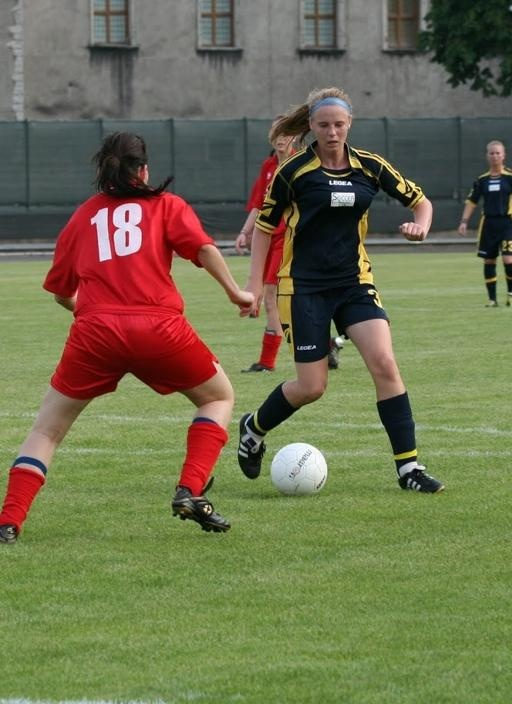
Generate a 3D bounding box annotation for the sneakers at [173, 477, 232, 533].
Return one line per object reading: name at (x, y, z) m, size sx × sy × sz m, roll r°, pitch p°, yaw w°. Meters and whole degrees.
sneakers at (-0.207, 0.594, 4.156) m, size 0.201 × 0.176 × 0.121 m, roll -2°, pitch 9°, yaw -2°

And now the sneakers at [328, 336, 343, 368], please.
sneakers at (0.593, -0.030, 8.454) m, size 0.118 × 0.303 × 0.144 m, roll 0°, pitch -13°, yaw 8°

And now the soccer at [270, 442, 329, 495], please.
soccer at (0.204, 0.517, 4.923) m, size 0.262 × 0.206 × 0.229 m, roll 2°, pitch -13°, yaw -3°

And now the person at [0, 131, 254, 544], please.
person at (-0.503, -0.075, 4.329) m, size 0.913 × 1.536 × 0.673 m, roll -2°, pitch 10°, yaw 4°

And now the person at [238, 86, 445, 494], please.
person at (0.333, -0.156, 4.982) m, size 0.928 × 1.549 × 0.529 m, roll -1°, pitch 10°, yaw 6°

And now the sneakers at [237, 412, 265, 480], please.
sneakers at (-0.049, 0.440, 5.210) m, size 0.124 × 0.294 × 0.138 m, roll -8°, pitch 11°, yaw -34°

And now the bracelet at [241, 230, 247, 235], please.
bracelet at (-0.090, -0.912, 8.652) m, size 0.012 × 0.039 × 0.048 m, roll 6°, pitch 6°, yaw -36°

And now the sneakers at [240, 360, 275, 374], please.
sneakers at (0.007, 0.127, 8.496) m, size 0.257 × 0.086 × 0.084 m, roll 4°, pitch -4°, yaw -4°

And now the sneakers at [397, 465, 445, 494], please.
sneakers at (0.708, 0.560, 4.867) m, size 0.217 × 0.087 × 0.080 m, roll -2°, pitch 2°, yaw 42°
